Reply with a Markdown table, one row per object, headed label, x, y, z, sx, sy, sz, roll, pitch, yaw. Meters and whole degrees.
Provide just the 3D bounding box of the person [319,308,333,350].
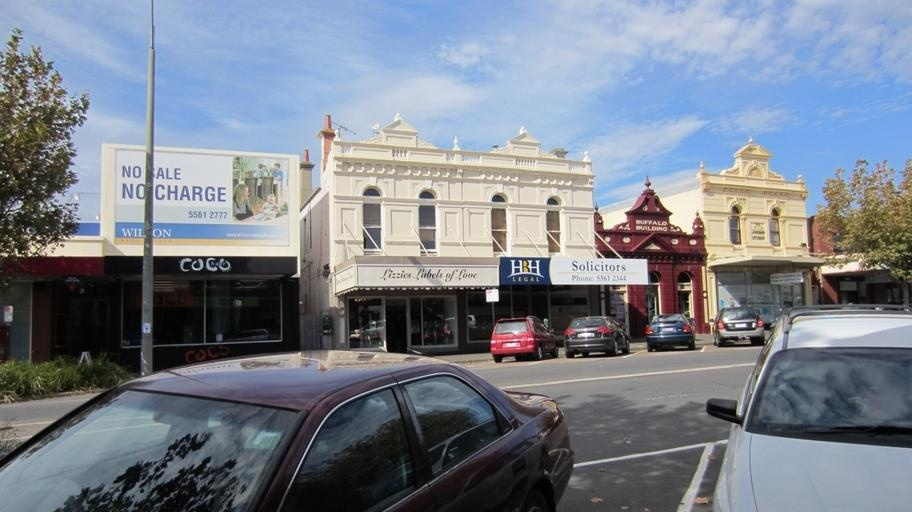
| label | x | y | z | sx | sy | sz | roll | pitch | yaw |
| --- | --- | --- | --- | --- | --- | --- | --- | --- | --- |
| person | -5.849 | 3.435 | 30.665 | 0.891 | 1.846 | 0.435 | 0 | 10 | -8 |
